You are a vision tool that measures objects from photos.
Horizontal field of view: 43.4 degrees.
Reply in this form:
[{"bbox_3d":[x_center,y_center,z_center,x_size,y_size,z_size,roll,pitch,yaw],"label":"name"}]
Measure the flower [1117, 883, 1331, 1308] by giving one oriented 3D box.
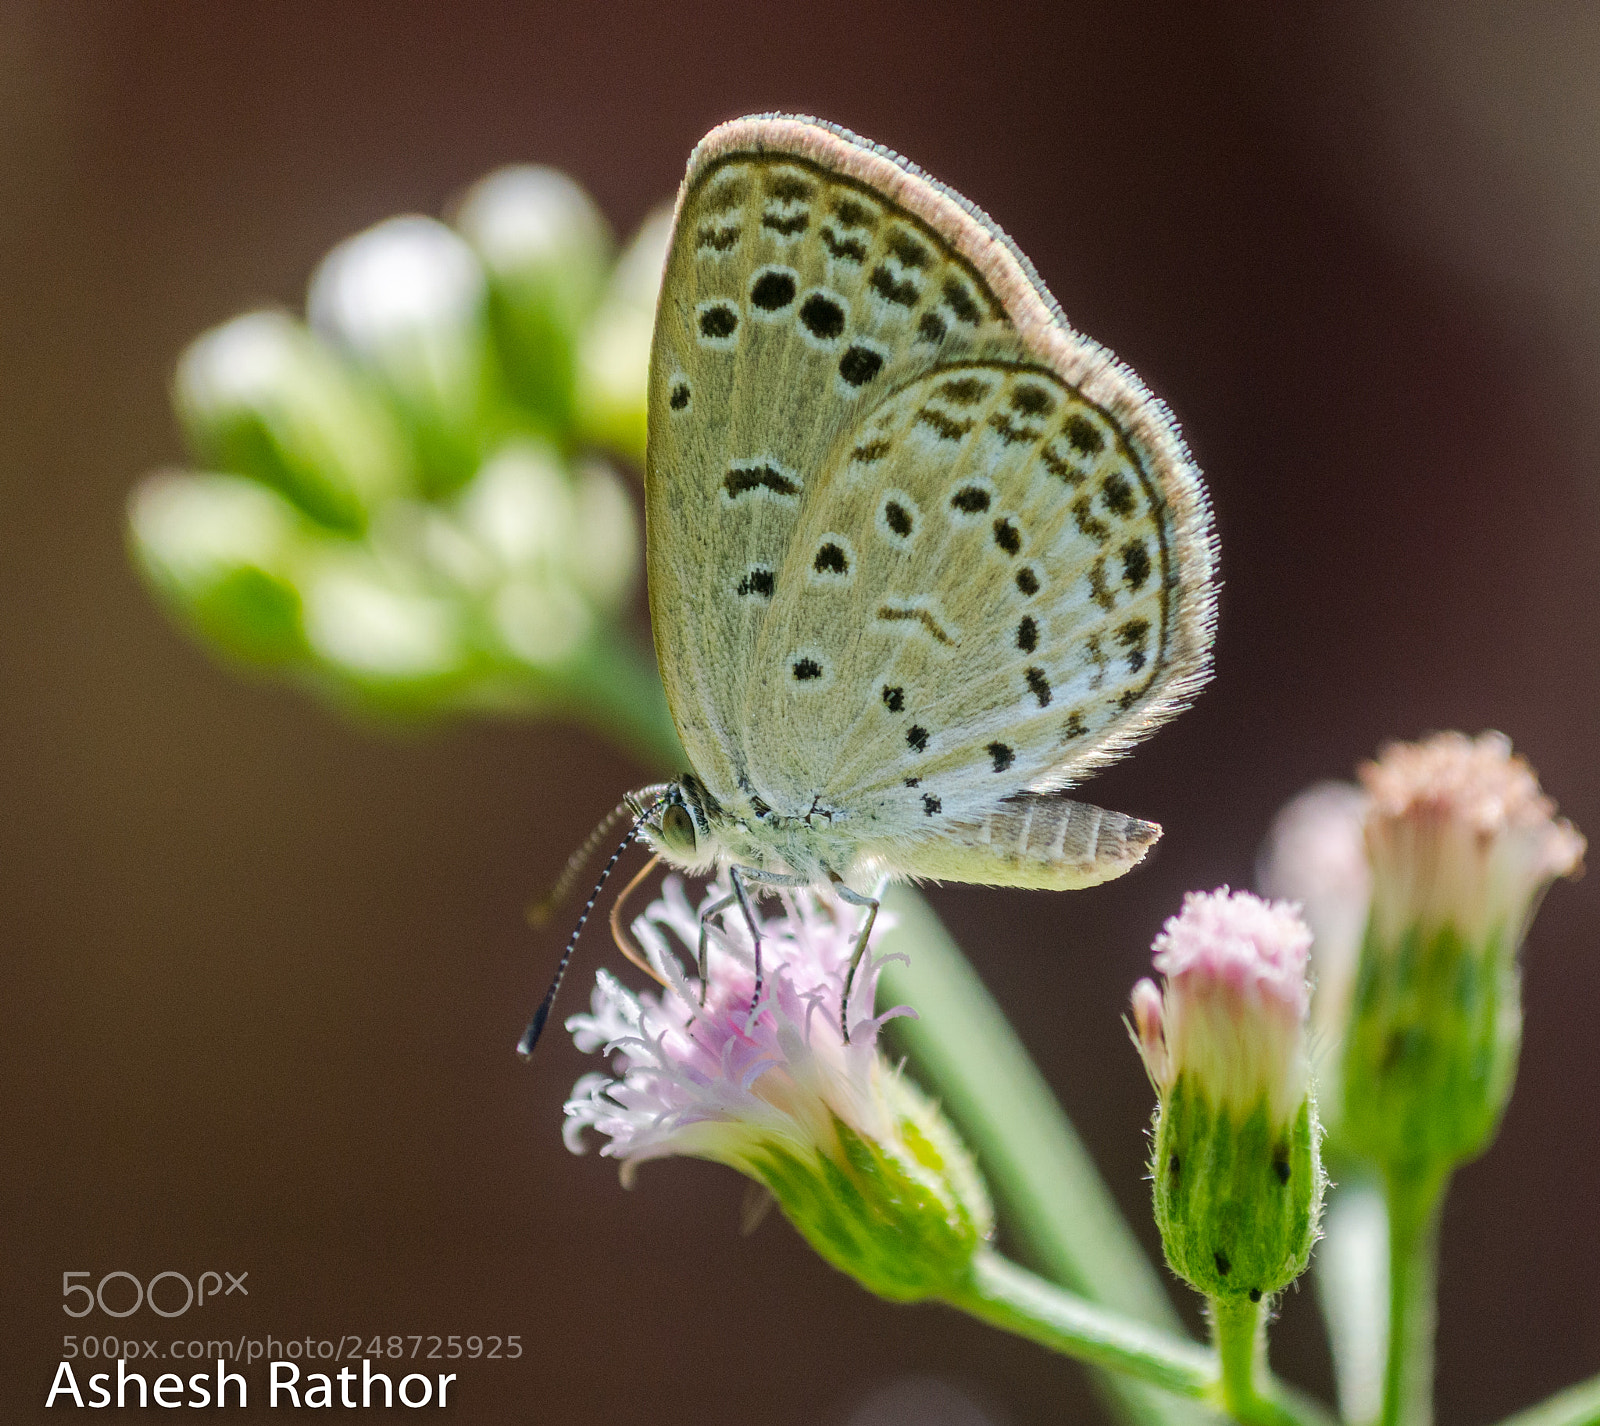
[{"bbox_3d":[0.431,0.380,2.036,0.184,0.402,0.139,-1,-1,8],"label":"flower"}]
